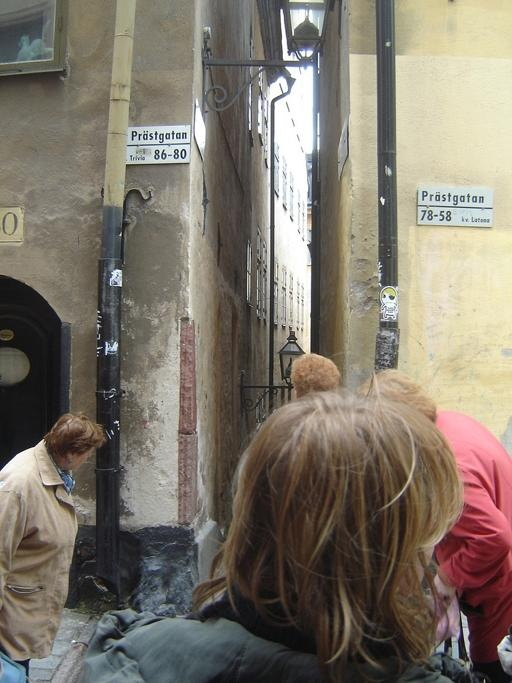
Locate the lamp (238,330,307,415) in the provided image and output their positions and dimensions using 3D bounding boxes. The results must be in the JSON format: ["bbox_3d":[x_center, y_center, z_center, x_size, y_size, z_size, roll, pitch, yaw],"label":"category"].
[{"bbox_3d":[0.111,0.313,9.432,0.893,1.376,0.333,0,-6,8],"label":"lamp"}]
